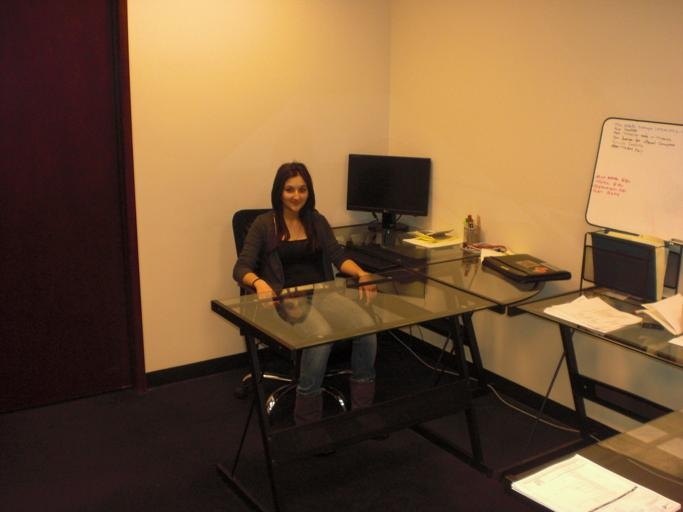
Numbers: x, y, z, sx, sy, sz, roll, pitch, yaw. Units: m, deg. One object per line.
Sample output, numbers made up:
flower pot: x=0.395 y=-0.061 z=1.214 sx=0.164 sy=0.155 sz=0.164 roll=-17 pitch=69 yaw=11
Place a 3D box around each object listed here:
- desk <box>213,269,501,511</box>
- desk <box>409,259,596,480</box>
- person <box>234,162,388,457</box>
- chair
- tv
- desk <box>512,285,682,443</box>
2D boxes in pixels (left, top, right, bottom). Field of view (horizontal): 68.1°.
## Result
desk: x=0.020 y=0.426 z=2.712 sx=1.646 sy=1.203 sz=1.050 roll=-8 pitch=14 yaw=-33
desk: x=1.083 y=0.947 z=3.517 sx=1.168 sy=1.292 sz=0.930 roll=-23 pitch=-9 yaw=13
person: x=-0.236 y=0.227 z=3.282 sx=0.741 sy=1.638 sz=0.851 roll=-9 pitch=12 yaw=-31
chair: x=-0.225 y=0.242 z=3.186 sx=0.932 sy=1.300 sz=1.012 roll=-5 pitch=9 yaw=-21
tv: x=0.379 y=-0.520 z=4.013 sx=0.577 sy=0.538 sz=0.121 roll=4 pitch=8 yaw=17
desk: x=1.432 y=0.599 z=2.787 sx=0.409 sy=0.580 sz=0.775 roll=-13 pitch=19 yaw=-21
